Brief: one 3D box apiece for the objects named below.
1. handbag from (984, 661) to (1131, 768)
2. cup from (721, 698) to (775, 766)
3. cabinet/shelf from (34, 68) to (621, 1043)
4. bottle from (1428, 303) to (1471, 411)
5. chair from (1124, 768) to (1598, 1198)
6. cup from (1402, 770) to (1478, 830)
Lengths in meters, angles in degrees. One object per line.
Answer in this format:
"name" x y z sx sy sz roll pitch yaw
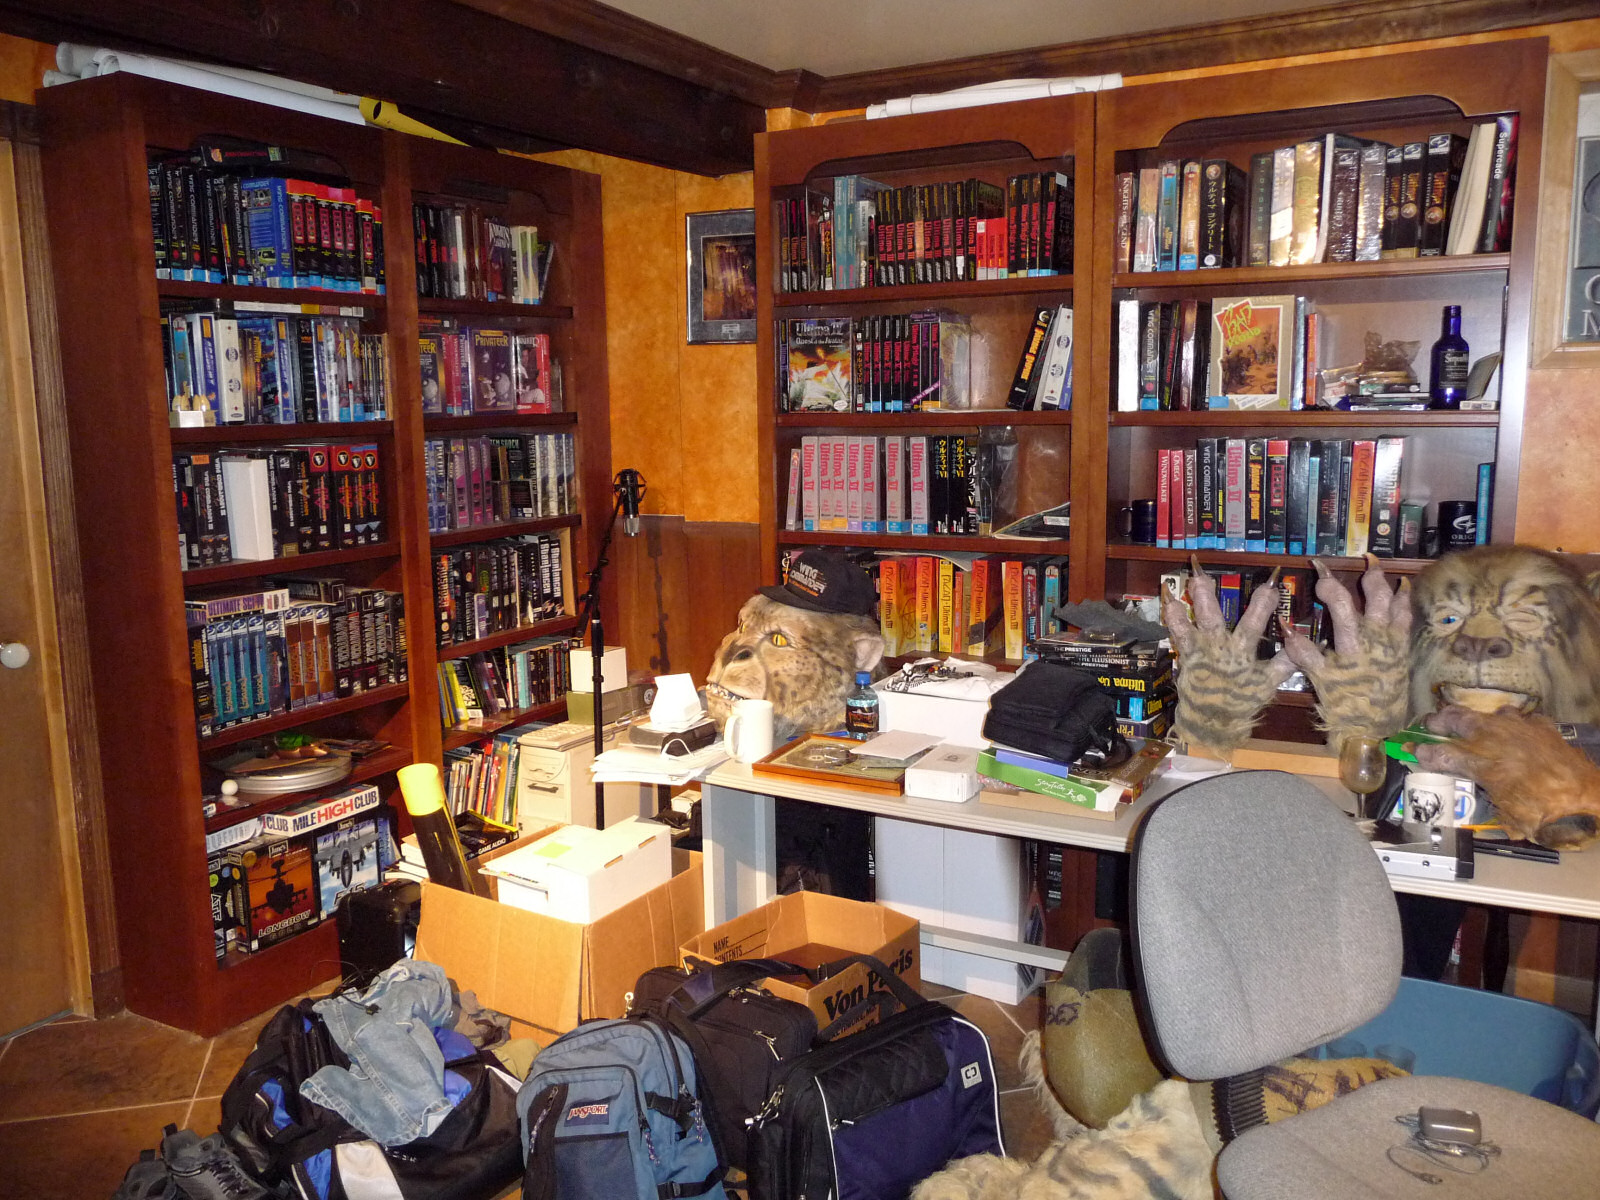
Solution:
"handbag" 0.662 0.285 3.218 0.393 0.131 0.393 -10 24 16
"cup" -0.141 0.366 3.377 0.115 0.169 0.184 5 8 27
"cabinet/shelf" -1.570 -0.203 4.303 0.493 2.831 1.767 5 12 34
"bottle" 1.953 -0.738 3.702 0.110 0.312 0.299 3 11 26
"chair" 0.980 0.756 2.654 0.760 0.977 0.887 -4 -5 -18
"cup" 1.470 0.460 2.837 0.152 0.144 0.108 0 -3 34
